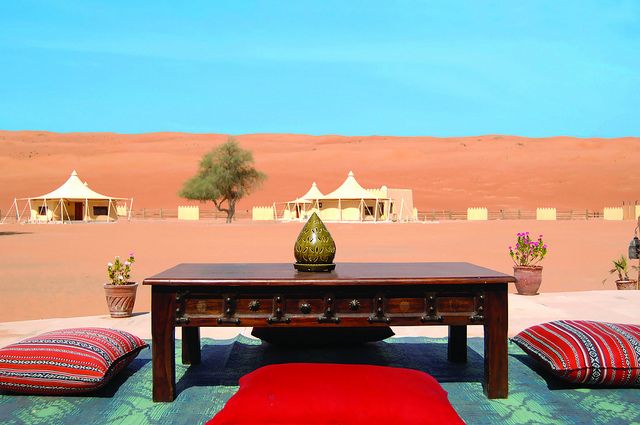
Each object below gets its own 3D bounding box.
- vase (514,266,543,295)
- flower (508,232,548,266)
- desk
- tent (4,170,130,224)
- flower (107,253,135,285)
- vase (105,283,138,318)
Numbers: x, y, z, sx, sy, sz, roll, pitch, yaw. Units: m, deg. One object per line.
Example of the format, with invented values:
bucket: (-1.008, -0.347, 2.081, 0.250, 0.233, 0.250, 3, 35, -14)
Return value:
vase: (3.727, 1.206, 13.710, 0.641, 0.520, 0.627, -2, -4, 21)
flower: (4.665, 0.833, 17.161, 0.776, 0.731, 0.654, 2, 6, 22)
desk: (0.229, 1.137, 10.377, 4.382, 1.413, 1.826, 0, -4, -2)
tent: (-12.544, -0.296, 37.062, 5.055, 2.070, 4.805, 1, -2, 2)
flower: (3.816, 1.232, 14.002, 0.605, 0.505, 0.602, 5, -5, -43)
vase: (-3.202, 1.447, 12.613, 0.585, 0.466, 0.573, 0, -6, 0)
